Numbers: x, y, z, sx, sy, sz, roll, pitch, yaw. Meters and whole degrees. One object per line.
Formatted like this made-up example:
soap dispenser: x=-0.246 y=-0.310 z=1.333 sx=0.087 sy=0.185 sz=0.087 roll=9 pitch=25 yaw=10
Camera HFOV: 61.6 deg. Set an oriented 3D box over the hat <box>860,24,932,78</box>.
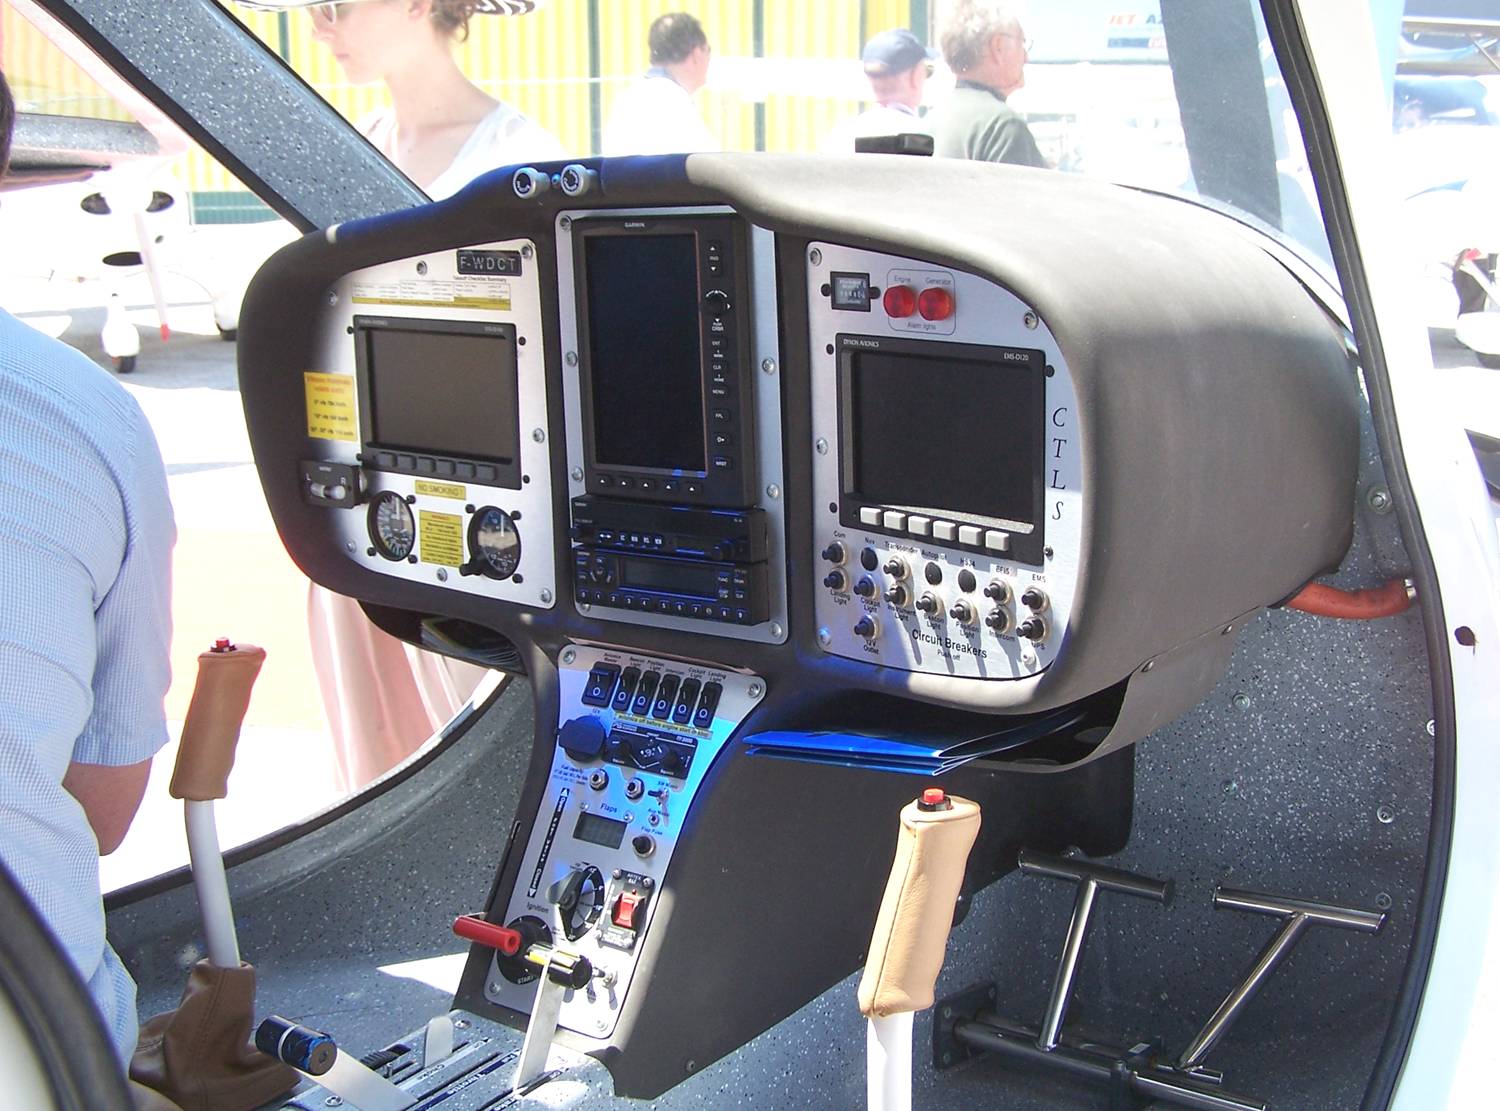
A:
hat: x=0.409 y=-1.406 z=3.457 sx=0.116 sy=0.091 sz=0.170 roll=15 pitch=42 yaw=35
